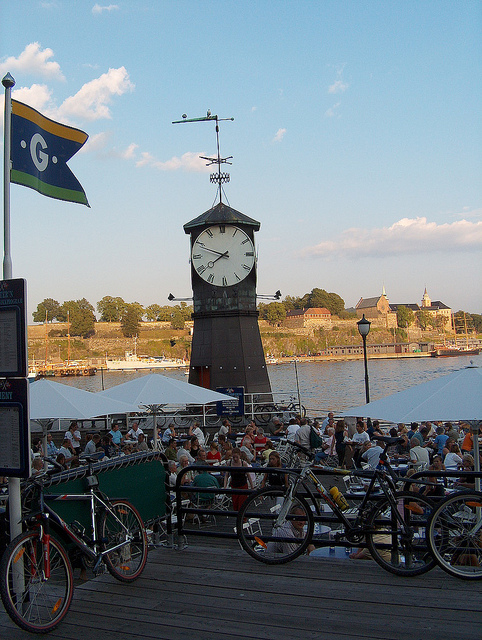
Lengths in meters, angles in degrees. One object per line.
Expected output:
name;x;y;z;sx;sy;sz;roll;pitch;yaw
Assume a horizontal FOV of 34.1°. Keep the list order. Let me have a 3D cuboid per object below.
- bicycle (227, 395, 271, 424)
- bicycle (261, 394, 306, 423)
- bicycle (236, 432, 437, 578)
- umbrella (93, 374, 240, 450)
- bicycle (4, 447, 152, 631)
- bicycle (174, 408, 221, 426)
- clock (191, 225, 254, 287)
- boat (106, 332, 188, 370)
bicycle;0.265;2.700;23.311;1.089;0.697;0.566;-4;-1;-2
bicycle;1.214;2.737;24.107;1.267;0.847;0.698;-5;4;-12
bicycle;0.822;1.485;6.428;1.739;1.219;0.707;2;17;6
umbrella;-1.563;1.270;14.208;1.680;1.115;1.570;0;1;-42
bicycle;-1.414;1.758;5.983;0.574;0.958;1.407;-17;-11;15
bicycle;-1.359;2.919;23.581;1.209;0.703;0.621;-2;1;-2
clock;-0.546;-1.968;23.948;2.056;2.273;0.130;1;-6;-2
boat;-13.952;5.413;131.641;17.124;7.926;5.165;4;-4;-28
